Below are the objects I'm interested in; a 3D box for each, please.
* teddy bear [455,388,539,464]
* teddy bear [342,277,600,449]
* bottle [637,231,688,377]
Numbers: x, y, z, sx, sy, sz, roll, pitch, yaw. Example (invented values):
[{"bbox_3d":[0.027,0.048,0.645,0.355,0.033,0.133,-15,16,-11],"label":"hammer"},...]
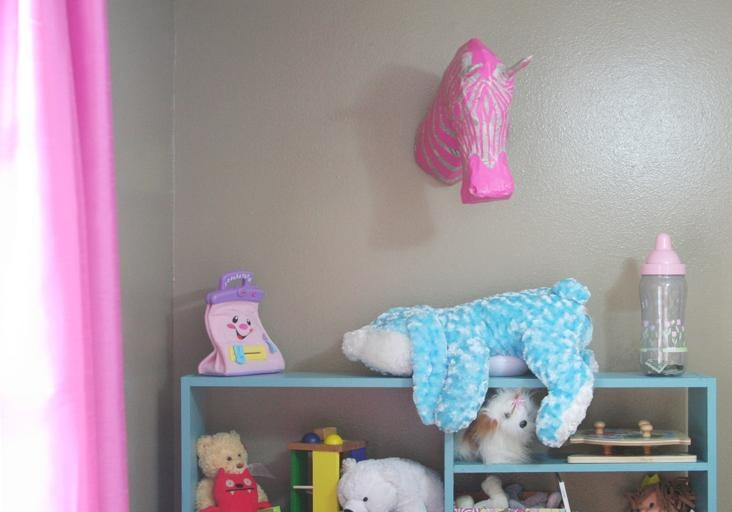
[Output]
[{"bbox_3d":[0.445,0.538,2.325,0.232,0.238,0.209,-1,-3,31],"label":"teddy bear"},{"bbox_3d":[0.345,0.273,2.201,0.614,0.351,0.535,-2,4,11],"label":"teddy bear"},{"bbox_3d":[1.004,0.156,2.372,0.147,0.449,0.281,-1,2,23],"label":"bottle"}]
